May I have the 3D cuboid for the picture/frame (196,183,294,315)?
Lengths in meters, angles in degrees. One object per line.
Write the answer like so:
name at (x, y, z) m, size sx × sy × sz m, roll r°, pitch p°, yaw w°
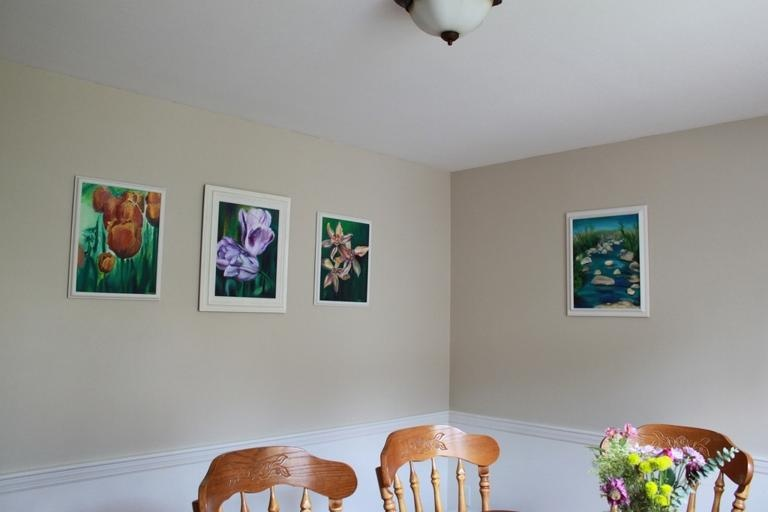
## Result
picture/frame at (-1.114, -0.043, 4.249) m, size 0.883 × 1.304 × 0.067 m, roll 7°, pitch -9°, yaw -36°

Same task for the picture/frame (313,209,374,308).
picture/frame at (-0.383, 0.028, 4.769) m, size 0.812 × 1.149 × 0.052 m, roll 0°, pitch 0°, yaw -40°

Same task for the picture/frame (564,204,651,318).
picture/frame at (1.924, 0.057, 4.646) m, size 0.829 × 1.309 × 0.046 m, roll -5°, pitch -9°, yaw 40°
